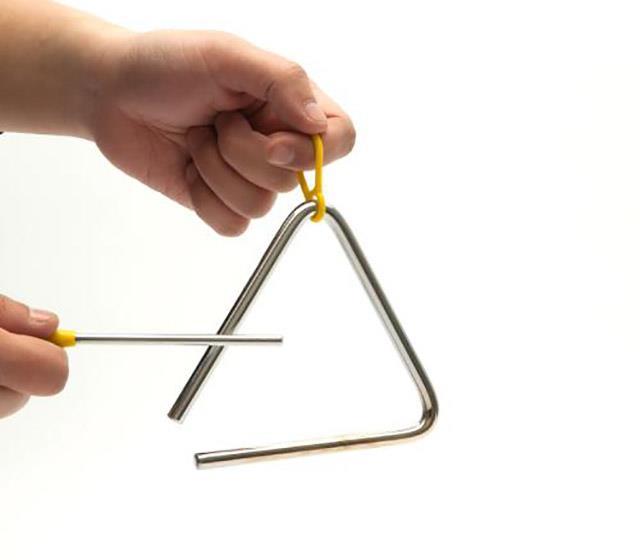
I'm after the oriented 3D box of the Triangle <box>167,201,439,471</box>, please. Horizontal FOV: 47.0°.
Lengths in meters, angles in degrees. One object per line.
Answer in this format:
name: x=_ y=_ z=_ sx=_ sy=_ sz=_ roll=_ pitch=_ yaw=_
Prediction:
Triangle: x=-0.025 y=0.090 z=0.985 sx=0.368 sy=0.412 sz=0.061 roll=-4 pitch=-8 yaw=-13
